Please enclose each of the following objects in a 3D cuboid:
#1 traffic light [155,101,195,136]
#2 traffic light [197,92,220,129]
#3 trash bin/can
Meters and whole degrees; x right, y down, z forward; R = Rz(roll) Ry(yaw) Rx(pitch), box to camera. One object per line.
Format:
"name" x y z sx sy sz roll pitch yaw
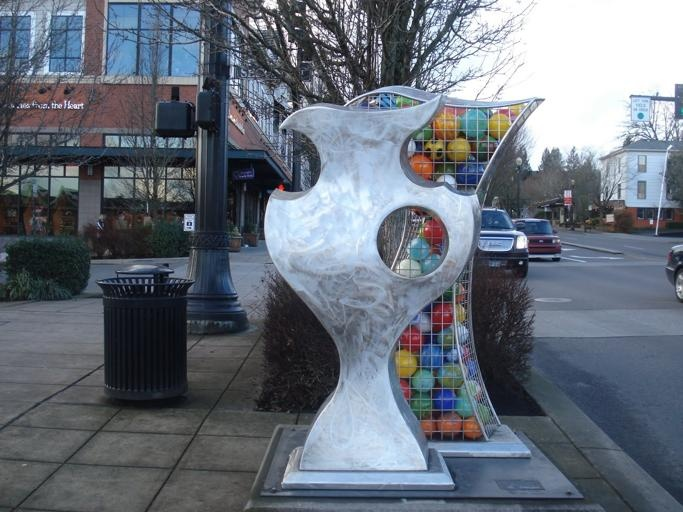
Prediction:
"traffic light" -2.481 -2.041 9.974 0.500 0.524 0.286 1 0 0
"traffic light" -2.021 -2.208 10.061 0.270 0.558 0.536 1 3 15
"trash bin/can" -2.168 0.783 7.648 1.172 1.697 1.219 -1 3 -20
